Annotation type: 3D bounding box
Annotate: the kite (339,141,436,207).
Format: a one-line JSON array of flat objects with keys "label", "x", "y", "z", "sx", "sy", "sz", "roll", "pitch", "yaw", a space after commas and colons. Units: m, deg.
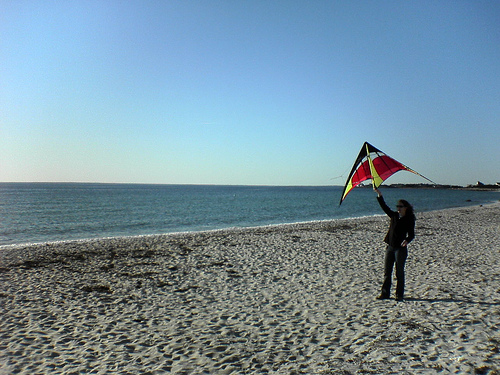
[{"label": "kite", "x": 3.054, "y": -0.396, "z": 8.770, "sx": 2.388, "sy": 1.213, "sz": 2.373, "roll": -17, "pitch": -8, "yaw": 23}]
